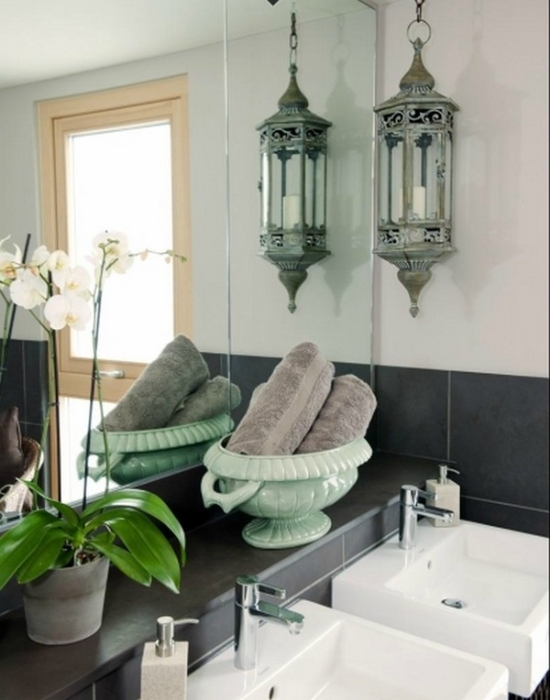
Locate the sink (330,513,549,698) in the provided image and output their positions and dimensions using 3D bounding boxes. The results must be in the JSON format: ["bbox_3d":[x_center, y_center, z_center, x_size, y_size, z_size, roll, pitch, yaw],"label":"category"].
[{"bbox_3d":[0.404,0.554,1.622,0.341,0.112,0.499,4,10,30],"label":"sink"}]

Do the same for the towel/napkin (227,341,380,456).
[{"bbox_3d":[0.064,0.105,1.547,0.193,0.223,0.351,4,9,44],"label":"towel/napkin"}]

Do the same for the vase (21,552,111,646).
[{"bbox_3d":[-0.305,0.368,1.089,0.144,0.101,0.123,1,1,-8],"label":"vase"}]

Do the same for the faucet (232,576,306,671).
[{"bbox_3d":[-0.012,0.464,1.163,0.049,0.153,0.154,-8,9,-41],"label":"faucet"}]
